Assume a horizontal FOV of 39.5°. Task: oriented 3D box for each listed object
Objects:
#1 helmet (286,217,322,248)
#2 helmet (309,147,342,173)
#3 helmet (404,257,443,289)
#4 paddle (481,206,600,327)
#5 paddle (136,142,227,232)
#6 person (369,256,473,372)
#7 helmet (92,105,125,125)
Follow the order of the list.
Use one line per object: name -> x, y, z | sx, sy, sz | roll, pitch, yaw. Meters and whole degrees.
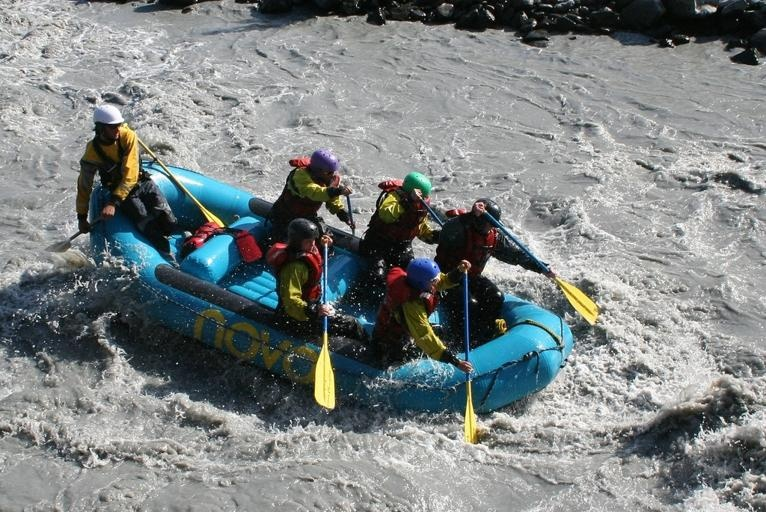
helmet -> -1.053, -0.346, 14.006 | 0.458, 0.402, 0.324 | 3, 44, -9
helmet -> -0.816, -1.362, 15.040 | 0.401, 0.298, 0.259 | 17, 36, -16
helmet -> 0.543, 0.204, 13.799 | 0.503, 0.354, 0.333 | 4, 22, 16
paddle -> 2.324, 0.225, 15.603 | 2.706, 0.192, 0.372 | 38, 60, -6
paddle -> -3.071, -1.016, 16.077 | 2.407, 0.334, 0.165 | 37, 77, -9
person -> 0.571, 0.836, 14.140 | 0.885, 1.347, 0.909 | 2, 54, -16
helmet -> -3.981, -2.013, 15.056 | 0.512, 0.215, 0.339 | 1, 17, 26
